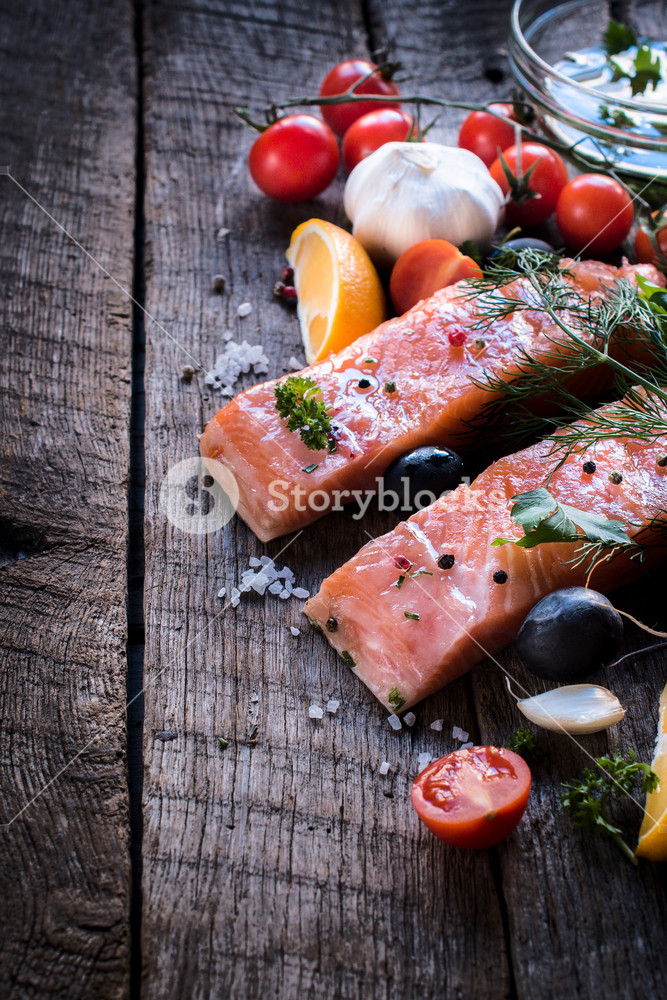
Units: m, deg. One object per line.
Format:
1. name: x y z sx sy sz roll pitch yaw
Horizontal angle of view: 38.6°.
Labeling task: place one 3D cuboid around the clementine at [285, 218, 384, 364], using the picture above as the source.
1. clementine: 0.003 -0.397 1.840 0.187 0.170 0.325 -10 54 -8

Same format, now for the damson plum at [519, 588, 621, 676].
1. damson plum: 0.319 0.180 1.321 0.135 0.104 0.105 -34 99 1

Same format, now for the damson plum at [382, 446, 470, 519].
1. damson plum: 0.148 -0.039 1.578 0.122 0.092 0.089 -20 44 3
